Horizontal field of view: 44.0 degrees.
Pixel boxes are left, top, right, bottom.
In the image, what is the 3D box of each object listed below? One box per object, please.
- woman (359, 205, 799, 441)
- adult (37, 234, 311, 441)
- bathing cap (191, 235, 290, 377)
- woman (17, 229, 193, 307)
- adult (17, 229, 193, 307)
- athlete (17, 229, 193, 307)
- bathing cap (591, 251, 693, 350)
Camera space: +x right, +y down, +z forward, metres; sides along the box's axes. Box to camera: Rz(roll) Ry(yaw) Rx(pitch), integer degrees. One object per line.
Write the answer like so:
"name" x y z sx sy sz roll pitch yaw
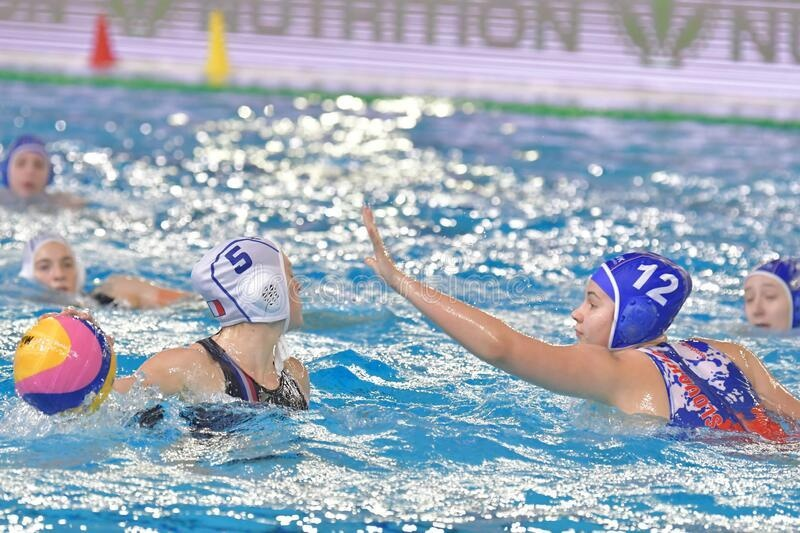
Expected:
"woman" 1.150 0.416 5.531 2.311 1.116 0.314 3 2 -9
"adult" -1.373 0.457 5.973 0.895 1.586 1.135 19 0 21
"bathing cap" -0.849 0.112 5.453 0.562 0.653 0.549 -14 2 -13
"woman" -2.228 0.019 7.429 1.154 0.369 0.603 3 4 -8
"adult" -2.230 -0.003 7.441 1.154 0.369 0.603 3 4 -8
"athlete" -2.235 0.025 7.430 1.154 0.369 0.603 3 4 -8
"bathing cap" 1.417 0.190 5.739 0.658 0.530 0.456 7 13 8
